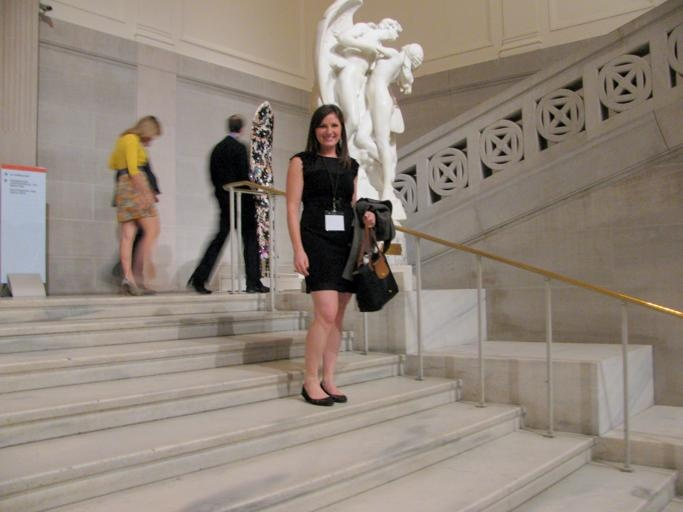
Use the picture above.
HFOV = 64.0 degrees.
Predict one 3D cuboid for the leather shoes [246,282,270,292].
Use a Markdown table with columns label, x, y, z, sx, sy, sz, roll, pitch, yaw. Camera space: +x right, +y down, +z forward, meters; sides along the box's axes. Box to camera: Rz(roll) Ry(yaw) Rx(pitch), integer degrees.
| label | x | y | z | sx | sy | sz | roll | pitch | yaw |
| --- | --- | --- | --- | --- | --- | --- | --- | --- | --- |
| leather shoes | -0.826 | 0.321 | 5.573 | 0.204 | 0.085 | 0.097 | -1 | 0 | -9 |

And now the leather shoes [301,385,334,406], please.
| label | x | y | z | sx | sy | sz | roll | pitch | yaw |
| --- | --- | --- | --- | --- | --- | --- | --- | --- | --- |
| leather shoes | -0.155 | 0.899 | 3.480 | 0.174 | 0.069 | 0.089 | -4 | -6 | 36 |

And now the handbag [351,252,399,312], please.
| label | x | y | z | sx | sy | sz | roll | pitch | yaw |
| --- | --- | --- | --- | --- | --- | --- | --- | --- | --- |
| handbag | 0.222 | 0.185 | 3.635 | 0.168 | 0.401 | 0.403 | -2 | 20 | 41 |

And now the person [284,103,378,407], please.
| label | x | y | z | sx | sy | sz | roll | pitch | yaw |
| --- | --- | --- | --- | --- | --- | --- | --- | --- | --- |
| person | -0.073 | -0.008 | 3.531 | 0.559 | 1.903 | 0.311 | 1 | -2 | -6 |
